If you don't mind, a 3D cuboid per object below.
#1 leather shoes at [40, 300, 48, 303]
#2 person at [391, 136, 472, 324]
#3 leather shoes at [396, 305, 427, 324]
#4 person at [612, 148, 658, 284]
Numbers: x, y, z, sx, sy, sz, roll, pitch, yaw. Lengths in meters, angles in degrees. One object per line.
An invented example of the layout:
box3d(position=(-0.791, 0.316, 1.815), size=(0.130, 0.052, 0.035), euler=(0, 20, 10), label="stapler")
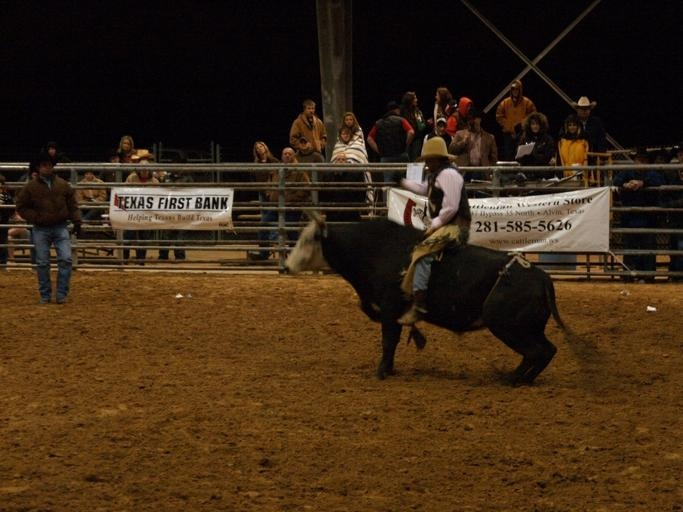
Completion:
box3d(position=(-4.471, 0.687, 12.713), size=(0.047, 0.042, 0.121), euler=(5, -7, -40), label="leather shoes")
box3d(position=(1.025, -0.153, 9.318), size=(0.628, 1.813, 0.738), euler=(5, 16, 16), label="person")
box3d(position=(0.761, 0.647, 9.295), size=(0.312, 0.257, 0.160), euler=(4, 15, 15), label="leather shoes")
box3d(position=(5.055, -0.682, 14.665), size=(0.799, 2.175, 1.192), euler=(3, 15, 10), label="person")
